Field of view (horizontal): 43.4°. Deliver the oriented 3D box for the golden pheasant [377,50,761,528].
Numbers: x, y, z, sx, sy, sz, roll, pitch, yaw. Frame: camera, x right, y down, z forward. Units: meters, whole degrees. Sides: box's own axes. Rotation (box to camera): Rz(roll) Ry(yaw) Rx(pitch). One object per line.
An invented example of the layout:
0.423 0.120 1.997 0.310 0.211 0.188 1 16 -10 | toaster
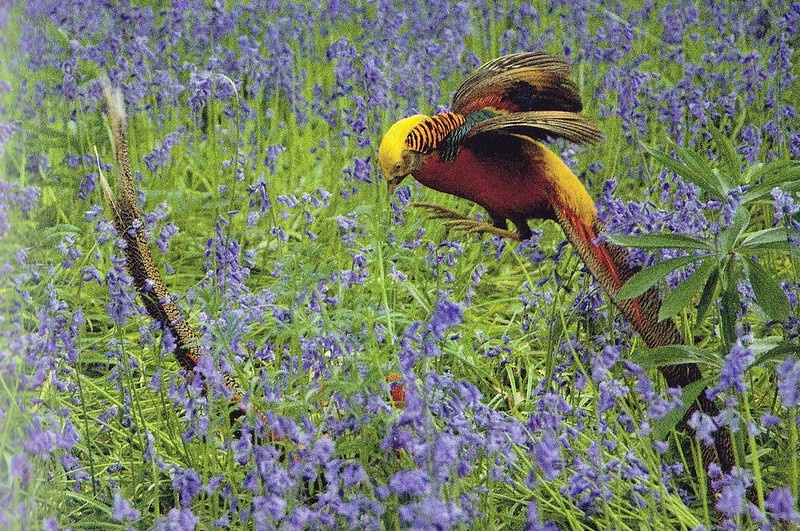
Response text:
0.518 -0.177 4.516 1.539 1.954 1.386 -2 10 1 | golden pheasant
